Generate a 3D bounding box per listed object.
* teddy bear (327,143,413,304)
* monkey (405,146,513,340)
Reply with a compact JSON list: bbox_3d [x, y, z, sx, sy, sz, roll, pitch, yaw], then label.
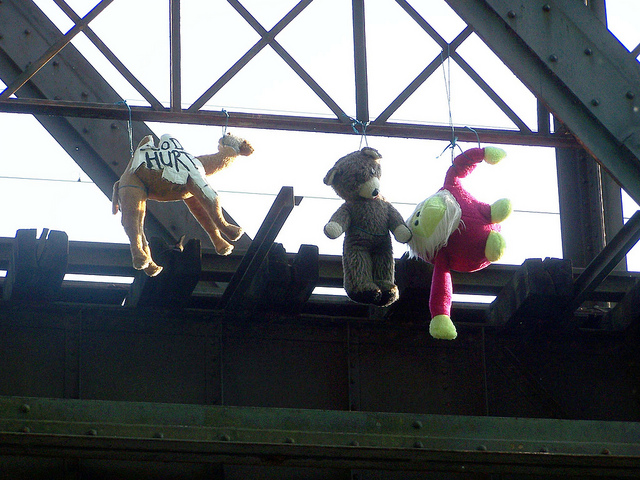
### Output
[{"bbox_3d":[0.413,-0.108,12.065,0.737,1.411,0.489,-2,-2,-13],"label":"teddy bear"},{"bbox_3d":[1.241,-0.091,12.384,1.005,2.108,1.145,2,-1,8],"label":"monkey"}]
